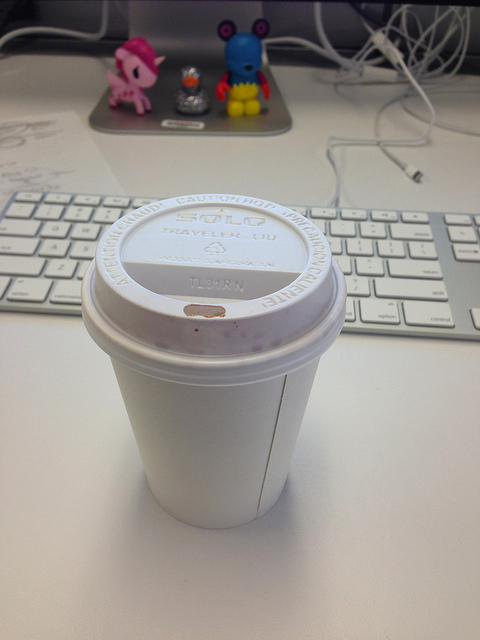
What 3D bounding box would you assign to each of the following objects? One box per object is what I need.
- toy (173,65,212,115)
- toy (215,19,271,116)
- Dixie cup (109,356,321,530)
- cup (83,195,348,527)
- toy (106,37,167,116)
[{"bbox_3d":[-0.065,-0.308,0.789,0.057,0.057,0.053,-3,39,-7],"label":"toy"},{"bbox_3d":[0.004,-0.334,0.795,0.075,0.098,0.091,2,44,2],"label":"toy"},{"bbox_3d":[-0.011,0.057,0.365,0.120,0.092,0.103,4,42,2],"label":"Dixie cup"},{"bbox_3d":[-0.013,0.026,0.358,0.135,0.172,0.133,0,45,0],"label":"cup"},{"bbox_3d":[-0.139,-0.319,0.783,0.076,0.086,0.057,22,31,25],"label":"toy"}]
